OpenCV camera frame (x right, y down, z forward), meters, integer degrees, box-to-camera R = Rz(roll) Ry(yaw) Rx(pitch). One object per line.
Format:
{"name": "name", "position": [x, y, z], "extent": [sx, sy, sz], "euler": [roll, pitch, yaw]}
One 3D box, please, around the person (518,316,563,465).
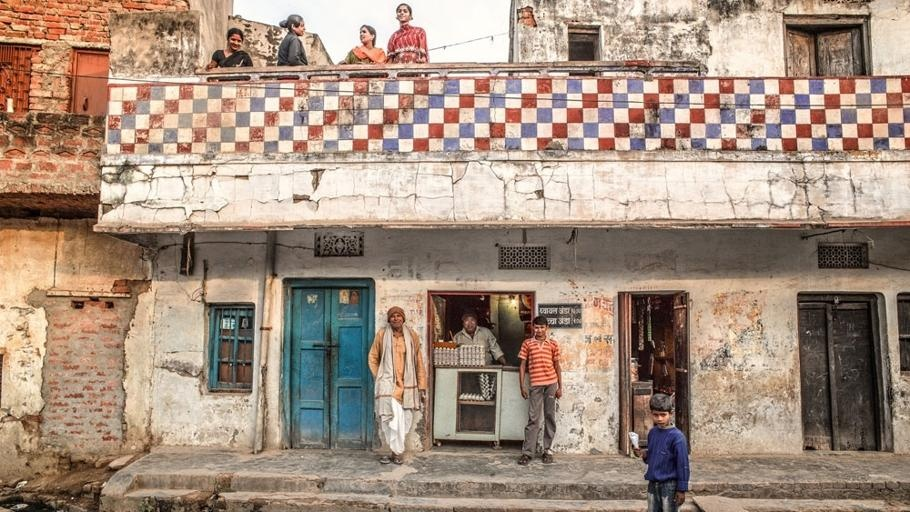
{"name": "person", "position": [1.645, 2.593, 21.750], "extent": [0.904, 2.865, 0.572], "euler": [0, -8, -1]}

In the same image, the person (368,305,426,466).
{"name": "person", "position": [-1.106, 2.514, 21.640], "extent": [1.052, 2.998, 0.538], "euler": [5, -9, -33]}

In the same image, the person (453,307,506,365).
{"name": "person", "position": [0.325, 1.799, 22.529], "extent": [1.196, 1.308, 0.716], "euler": [-11, 16, -14]}

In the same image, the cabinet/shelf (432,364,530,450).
{"name": "cabinet/shelf", "position": [0.530, 2.980, 22.101], "extent": [1.978, 1.501, 0.650], "euler": [0, -6, 1]}

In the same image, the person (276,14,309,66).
{"name": "person", "position": [-3.266, -4.234, 22.385], "extent": [0.533, 1.080, 0.891], "euler": [1, -7, -8]}

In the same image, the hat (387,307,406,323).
{"name": "hat", "position": [-1.149, 1.128, 21.713], "extent": [0.305, 0.228, 0.302], "euler": [0, -12, 0]}

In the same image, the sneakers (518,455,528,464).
{"name": "sneakers", "position": [1.315, 3.906, 21.427], "extent": [0.239, 0.183, 0.170], "euler": [-1, -7, 4]}

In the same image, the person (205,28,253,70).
{"name": "person", "position": [-4.548, -4.189, 22.446], "extent": [0.862, 1.020, 0.734], "euler": [1, -8, -12]}

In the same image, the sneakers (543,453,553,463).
{"name": "sneakers", "position": [1.798, 3.892, 21.545], "extent": [0.236, 0.183, 0.205], "euler": [0, -7, -2]}

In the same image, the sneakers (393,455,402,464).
{"name": "sneakers", "position": [-1.097, 3.906, 21.419], "extent": [0.192, 0.180, 0.174], "euler": [1, -7, -8]}
